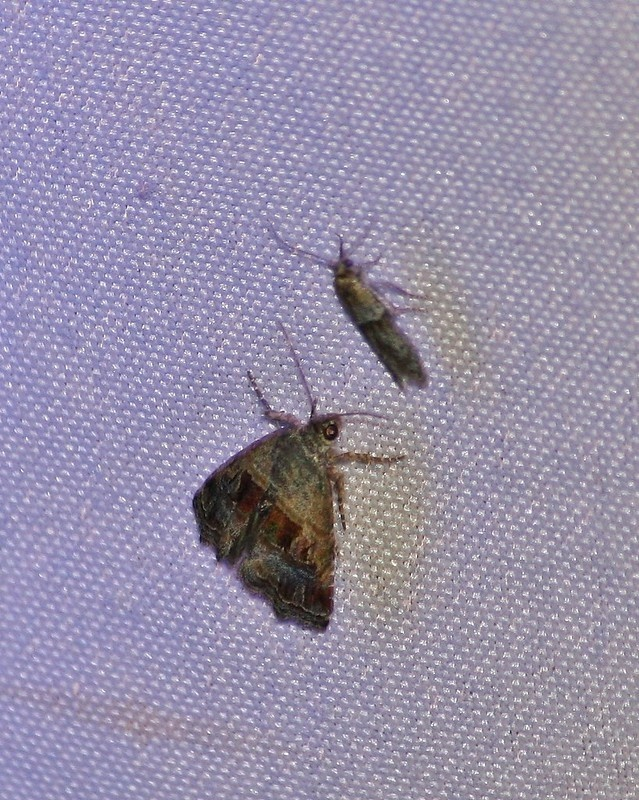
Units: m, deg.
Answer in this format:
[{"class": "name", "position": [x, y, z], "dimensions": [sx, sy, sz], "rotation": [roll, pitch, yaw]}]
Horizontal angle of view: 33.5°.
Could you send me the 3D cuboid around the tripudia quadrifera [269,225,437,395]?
[{"class": "tripudia quadrifera", "position": [0.130, -0.216, 2.700], "dimensions": [0.225, 0.080, 0.421], "rotation": [-22, -84, 32]}]
